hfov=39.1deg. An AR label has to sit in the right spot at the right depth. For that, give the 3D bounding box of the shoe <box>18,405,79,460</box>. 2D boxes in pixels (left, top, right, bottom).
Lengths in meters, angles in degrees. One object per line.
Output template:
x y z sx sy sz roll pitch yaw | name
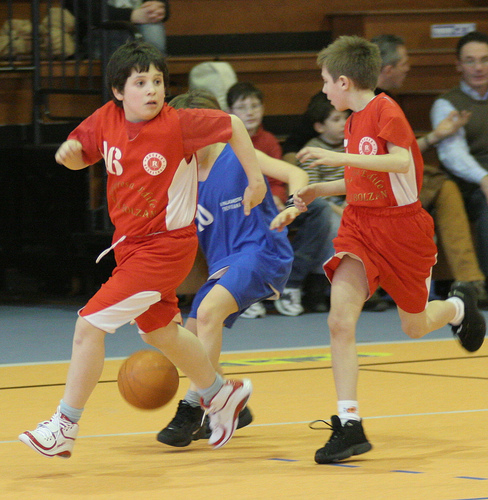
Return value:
-0.591 0.546 2.066 0.097 0.135 0.220 3 -20 19 | shoe

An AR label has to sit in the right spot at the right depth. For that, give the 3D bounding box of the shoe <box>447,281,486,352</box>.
1.093 0.326 3.413 0.205 0.348 0.155 -14 -3 -24 | shoe

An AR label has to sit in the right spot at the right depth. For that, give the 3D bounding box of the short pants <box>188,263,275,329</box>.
-0.049 0.183 2.655 0.340 0.265 0.291 -1 1 0 | short pants

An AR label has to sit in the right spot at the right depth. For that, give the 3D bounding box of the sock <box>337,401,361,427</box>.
0.332 0.534 2.261 0.102 0.091 0.073 -4 3 -1 | sock

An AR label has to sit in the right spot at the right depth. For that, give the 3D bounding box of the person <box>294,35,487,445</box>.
0.546 -0.088 2.716 0.572 1.513 1.279 -1 1 16 | person

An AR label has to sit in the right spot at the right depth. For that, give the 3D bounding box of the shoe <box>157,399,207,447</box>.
-0.222 0.632 2.473 0.092 0.098 0.256 7 3 30 | shoe

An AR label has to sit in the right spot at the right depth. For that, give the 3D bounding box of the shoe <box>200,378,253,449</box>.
-0.093 0.562 2.397 0.150 0.275 0.105 35 -31 -18 | shoe

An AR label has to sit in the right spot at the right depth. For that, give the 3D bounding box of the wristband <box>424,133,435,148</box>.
1.438 -0.848 5.364 0.034 0.089 0.095 -17 29 8 | wristband

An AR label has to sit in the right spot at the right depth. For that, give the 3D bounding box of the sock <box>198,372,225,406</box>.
-0.109 0.481 2.365 0.105 0.108 0.036 -2 2 -36 | sock

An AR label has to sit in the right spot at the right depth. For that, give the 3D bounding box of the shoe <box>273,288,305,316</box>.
0.354 0.400 5.377 0.238 0.216 0.195 -1 1 4 | shoe

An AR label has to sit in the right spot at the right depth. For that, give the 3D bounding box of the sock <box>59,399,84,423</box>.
-0.535 0.496 2.122 0.084 0.049 0.061 21 -13 -9 | sock

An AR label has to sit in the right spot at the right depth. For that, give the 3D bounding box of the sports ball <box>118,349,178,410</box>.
-0.338 0.451 2.408 0.242 0.205 0.219 1 -1 -30 | sports ball

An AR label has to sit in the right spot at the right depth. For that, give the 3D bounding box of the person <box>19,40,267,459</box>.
-0.346 0.011 2.257 0.842 1.371 0.310 -2 2 -23 | person
